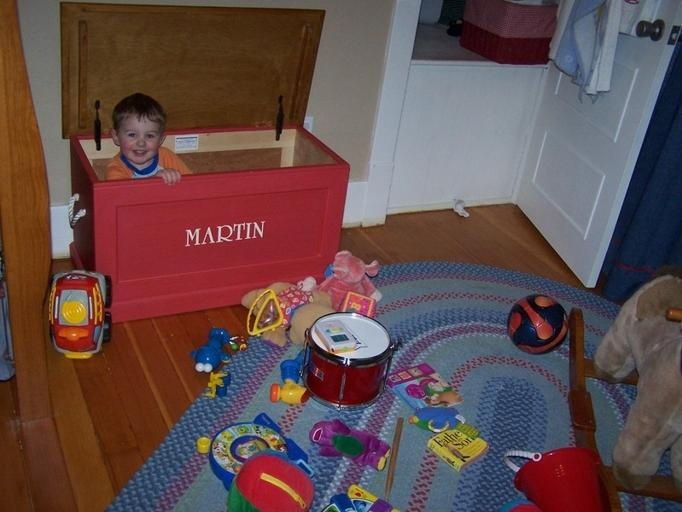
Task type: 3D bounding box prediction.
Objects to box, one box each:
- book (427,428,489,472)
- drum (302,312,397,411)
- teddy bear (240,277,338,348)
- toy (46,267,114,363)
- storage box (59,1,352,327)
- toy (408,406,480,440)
[{"bbox_3d":[0.390,0.627,1.723,0.165,0.035,0.134,-22,41,-33],"label":"book"},{"bbox_3d":[0.018,0.364,1.888,0.299,0.223,0.315,3,32,-2],"label":"drum"},{"bbox_3d":[-0.212,0.234,2.072,0.299,0.119,0.255,4,56,23],"label":"teddy bear"},{"bbox_3d":[-0.922,0.195,1.834,0.207,0.323,0.106,0,9,-7],"label":"toy"},{"bbox_3d":[-0.578,-0.356,2.103,1.128,1.127,0.633,-8,39,-25],"label":"storage box"},{"bbox_3d":[0.354,0.585,1.805,0.173,0.039,0.108,4,25,-8],"label":"toy"}]
